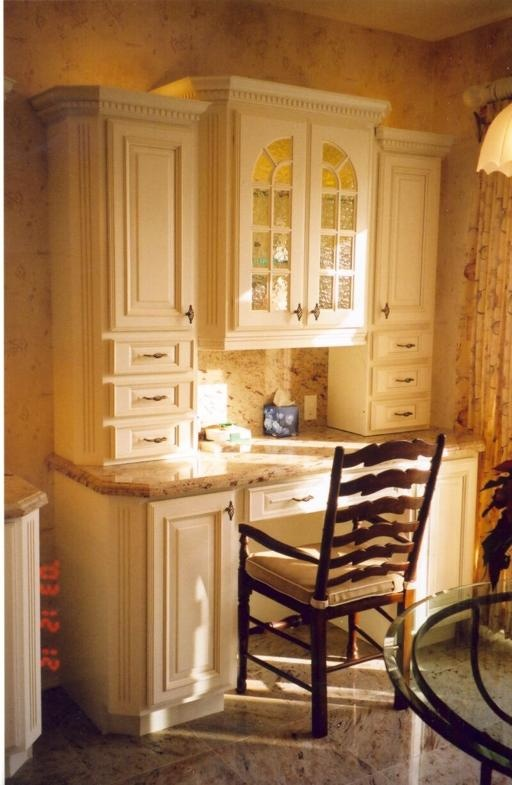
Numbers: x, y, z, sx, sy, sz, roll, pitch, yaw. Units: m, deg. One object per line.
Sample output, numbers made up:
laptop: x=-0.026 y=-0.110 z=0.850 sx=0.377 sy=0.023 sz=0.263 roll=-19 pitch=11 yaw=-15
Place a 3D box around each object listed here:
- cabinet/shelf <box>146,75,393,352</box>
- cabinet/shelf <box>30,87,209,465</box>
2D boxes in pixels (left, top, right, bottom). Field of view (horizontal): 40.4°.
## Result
cabinet/shelf: x=0.097 y=-0.664 z=2.688 sx=0.945 sy=0.902 sz=0.370 roll=-6 pitch=15 yaw=-33
cabinet/shelf: x=-0.443 y=-0.351 z=2.274 sx=0.542 sy=1.168 sz=0.307 roll=-1 pitch=6 yaw=-15
